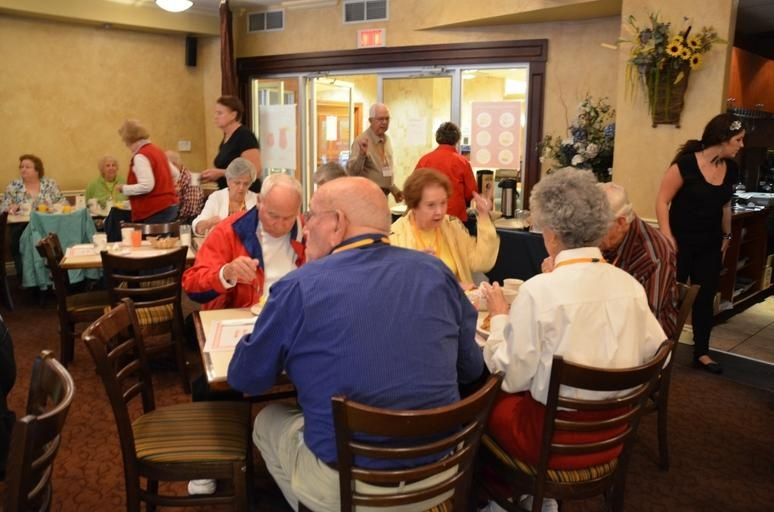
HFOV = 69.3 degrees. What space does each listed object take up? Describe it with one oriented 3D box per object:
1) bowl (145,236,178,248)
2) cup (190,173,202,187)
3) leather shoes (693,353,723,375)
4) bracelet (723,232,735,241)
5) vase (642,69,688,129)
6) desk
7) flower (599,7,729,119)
[{"bbox_3d":[-1.977,-0.114,4.934,0.160,0.058,0.156,2,-2,0],"label":"bowl"},{"bbox_3d":[-2.087,-0.839,6.157,0.117,0.122,0.120,1,2,0],"label":"cup"},{"bbox_3d":[2.730,0.917,4.792,0.114,0.086,0.215,-9,11,-33],"label":"leather shoes"},{"bbox_3d":[3.044,-0.172,5.020,0.111,0.059,0.080,6,6,40],"label":"bracelet"},{"bbox_3d":[2.604,-1.470,5.416,0.510,0.600,0.472,0,6,21],"label":"vase"},{"bbox_3d":[3.712,-0.035,5.831,0.394,0.977,1.025,2,7,42],"label":"desk"},{"bbox_3d":[2.891,-1.960,5.675,0.863,1.309,1.286,3,7,30],"label":"flower"}]
